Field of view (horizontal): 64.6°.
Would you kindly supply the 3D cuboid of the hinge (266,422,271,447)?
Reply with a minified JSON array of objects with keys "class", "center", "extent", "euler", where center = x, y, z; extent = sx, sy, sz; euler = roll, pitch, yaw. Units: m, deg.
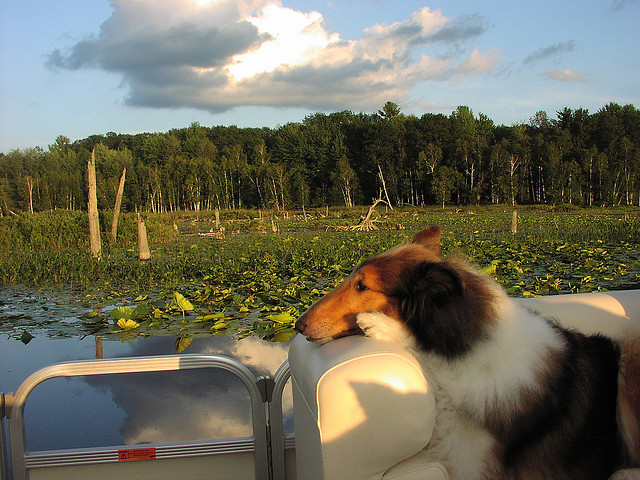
[{"class":"hinge","center":[-0.316,1.182,3.090],"extent":[0.022,0.134,0.046],"euler":[-4,8,-26]}]

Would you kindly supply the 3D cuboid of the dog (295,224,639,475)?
[{"class":"dog","center":[0.872,0.618,2.605],"extent":[1.680,1.103,0.524],"euler":[-1,7,0]}]

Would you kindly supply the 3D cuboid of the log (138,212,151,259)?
[{"class":"log","center":[-4.492,-0.094,12.802],"extent":[0.220,1.126,0.506],"euler":[-3,7,-20]}]

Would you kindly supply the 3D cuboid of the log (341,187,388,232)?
[{"class":"log","center":[2.471,-1.120,25.987],"extent":[1.798,1.887,1.796],"euler":[-4,13,-28]}]

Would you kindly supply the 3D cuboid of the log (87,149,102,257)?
[{"class":"log","center":[-6.363,-0.947,14.114],"extent":[0.354,3.620,0.363],"euler":[-2,40,-25]}]
